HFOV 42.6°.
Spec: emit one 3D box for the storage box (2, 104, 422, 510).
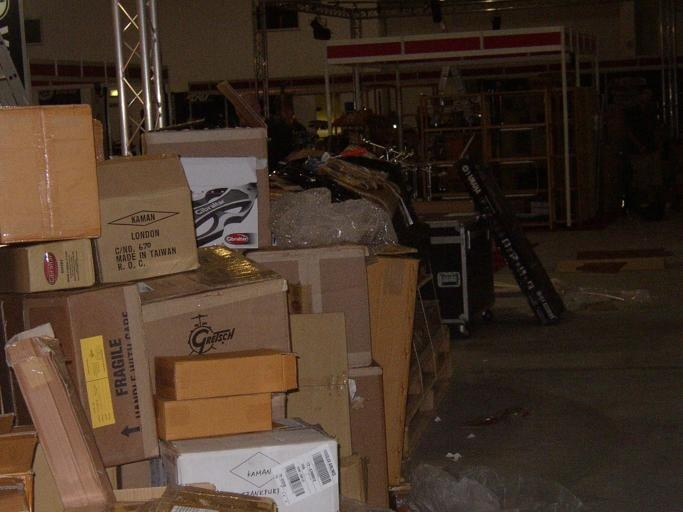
[{"bbox_3d":[-0.600,0.286,4.014,2.052,1.956,1.097,-2,11,-6],"label":"storage box"}]
